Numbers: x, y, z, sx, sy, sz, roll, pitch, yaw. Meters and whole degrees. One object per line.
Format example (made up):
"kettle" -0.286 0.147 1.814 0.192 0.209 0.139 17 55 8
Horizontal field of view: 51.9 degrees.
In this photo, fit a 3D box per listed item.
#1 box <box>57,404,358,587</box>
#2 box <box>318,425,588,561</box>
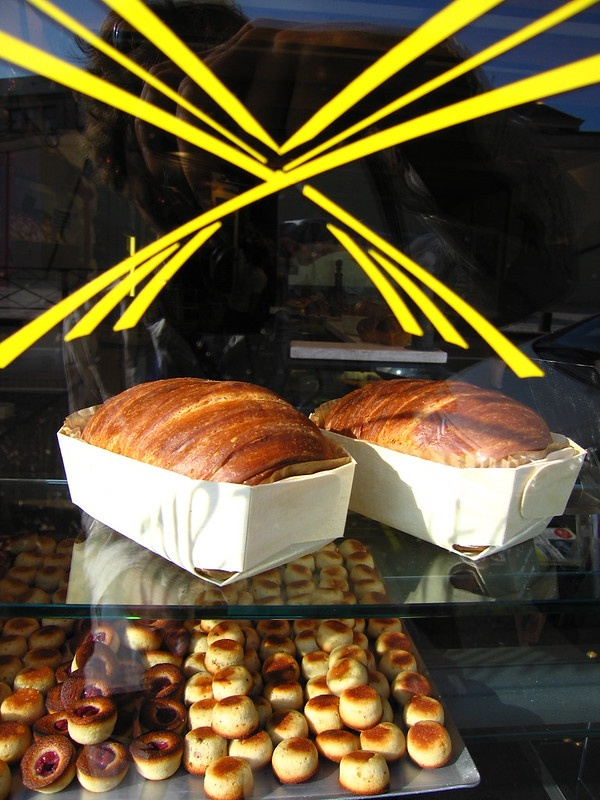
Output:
"box" -0.067 0.052 0.444 0.167 0.049 0.109 14 17 36
"box" 0.129 0.050 0.474 0.103 0.046 0.142 -5 15 -39
